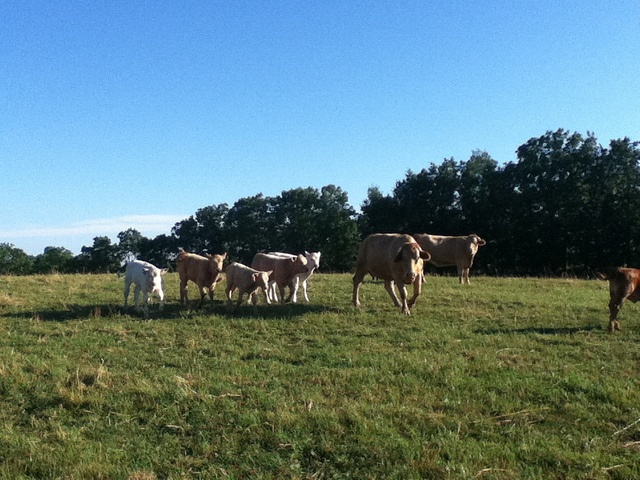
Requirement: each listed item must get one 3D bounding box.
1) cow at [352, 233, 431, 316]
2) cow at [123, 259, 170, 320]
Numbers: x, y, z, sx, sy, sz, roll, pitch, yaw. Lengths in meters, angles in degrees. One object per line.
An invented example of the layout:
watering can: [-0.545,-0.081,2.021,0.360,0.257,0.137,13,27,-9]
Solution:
cow: [2.301,0.973,18.158,1.551,2.241,3.256,-3,6,-26]
cow: [-5.822,1.484,18.526,1.255,1.565,3.360,-2,6,-20]
